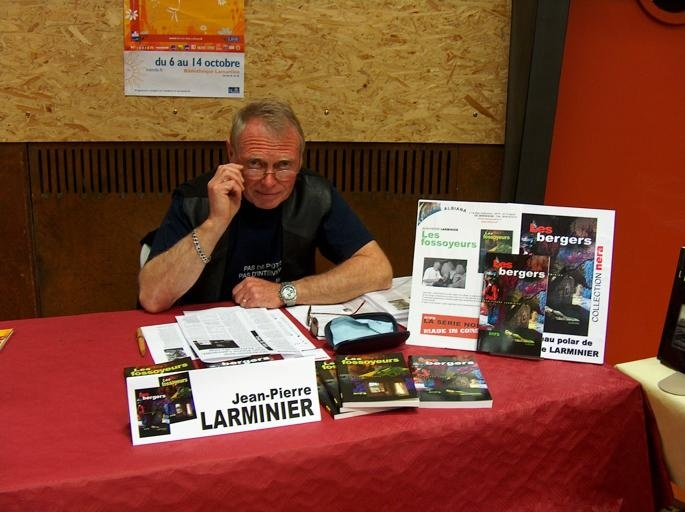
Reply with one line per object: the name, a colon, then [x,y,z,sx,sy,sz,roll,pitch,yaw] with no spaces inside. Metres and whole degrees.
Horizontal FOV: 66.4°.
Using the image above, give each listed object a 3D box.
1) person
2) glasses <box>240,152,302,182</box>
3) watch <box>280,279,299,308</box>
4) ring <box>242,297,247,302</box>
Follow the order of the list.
person: [-0.391,-0.246,2.319,1.165,0.900,0.654,-2,16,-14]
glasses: [-0.268,-0.328,1.973,0.137,0.126,0.038,1,52,-6]
watch: [-0.188,0.142,1.894,0.050,0.048,0.090,-3,33,-11]
ring: [-0.344,0.155,1.861,0.018,0.015,0.004,20,-4,19]
